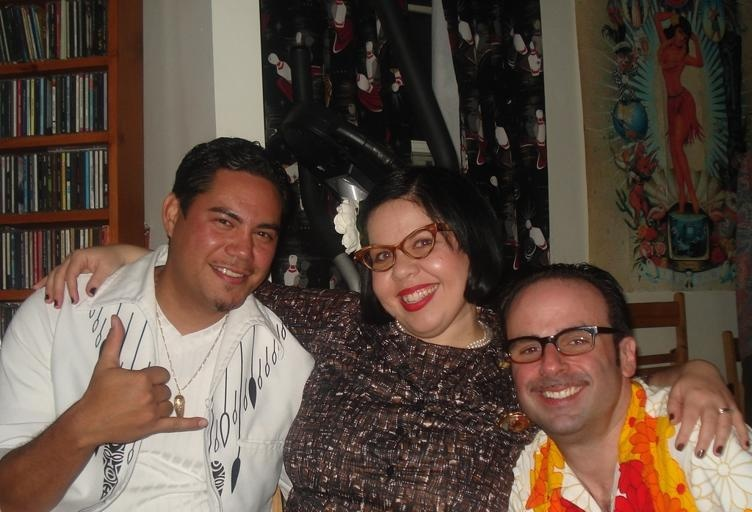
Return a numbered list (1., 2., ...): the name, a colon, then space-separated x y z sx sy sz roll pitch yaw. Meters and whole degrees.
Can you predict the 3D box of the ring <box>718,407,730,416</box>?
1. ring: 1.330 0.586 2.652 0.043 0.024 0.010 -2 -4 -2
